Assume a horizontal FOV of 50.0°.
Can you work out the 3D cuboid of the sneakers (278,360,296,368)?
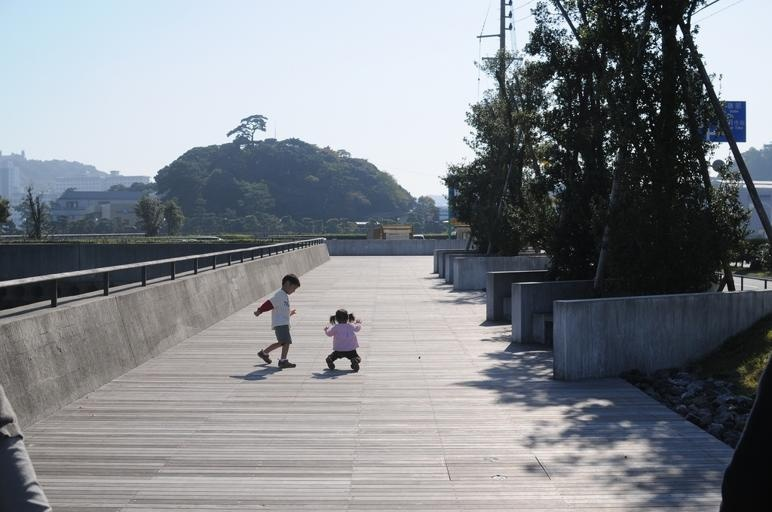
[{"bbox_3d":[-1.815,1.936,15.032,0.365,0.185,0.126,-1,7,-12],"label":"sneakers"}]

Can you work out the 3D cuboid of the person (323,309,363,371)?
[{"bbox_3d":[-0.745,1.492,15.118,0.610,1.091,0.545,-1,9,27],"label":"person"}]

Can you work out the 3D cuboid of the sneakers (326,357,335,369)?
[{"bbox_3d":[-0.994,1.919,14.986,0.151,0.229,0.284,-2,13,-6],"label":"sneakers"}]
